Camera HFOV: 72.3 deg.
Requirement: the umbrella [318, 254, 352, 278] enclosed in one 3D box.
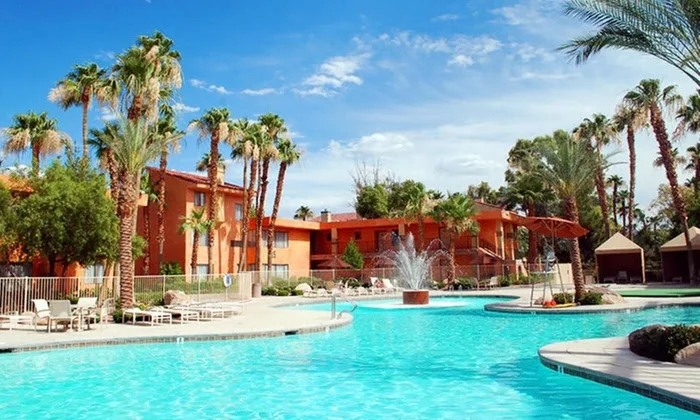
[{"bbox_3d":[-1.412,5.510,46.104,2.528,1.677,2.386,2,-1,-5],"label":"umbrella"}]
